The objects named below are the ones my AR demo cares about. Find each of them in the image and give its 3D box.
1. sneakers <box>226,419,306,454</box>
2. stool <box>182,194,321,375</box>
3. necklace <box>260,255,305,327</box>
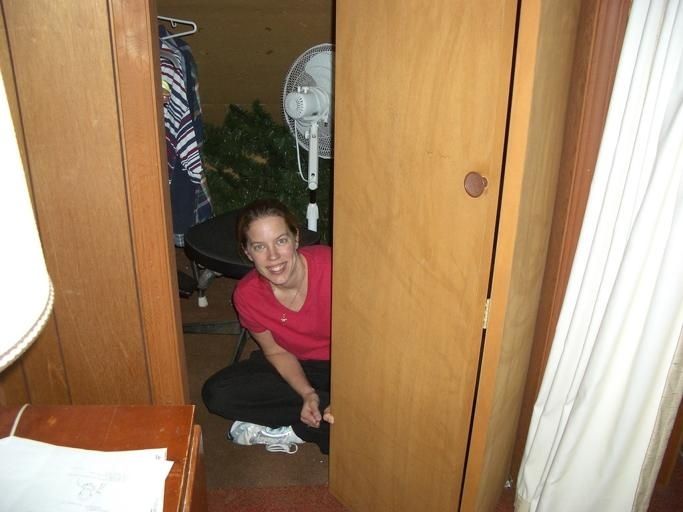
[{"bbox_3d":[-0.278,0.671,2.136,0.303,0.118,0.135,1,-10,-6],"label":"sneakers"},{"bbox_3d":[-0.453,0.066,2.803,0.636,0.721,0.743,-8,24,-22],"label":"stool"},{"bbox_3d":[-0.190,0.111,2.003,0.130,0.255,0.057,-2,9,16],"label":"necklace"}]
